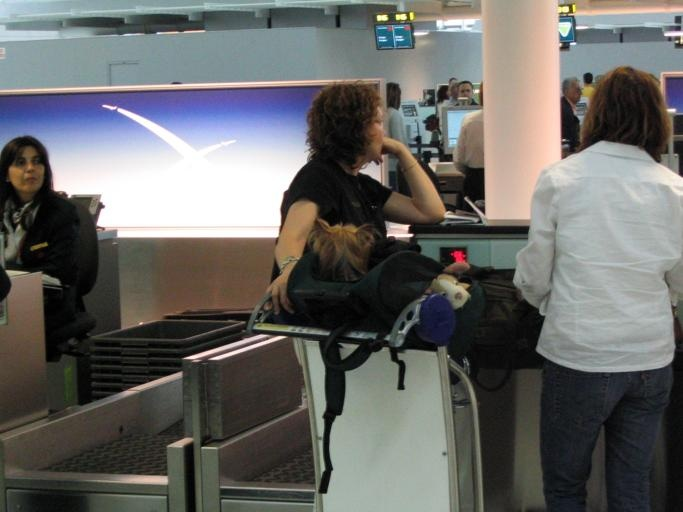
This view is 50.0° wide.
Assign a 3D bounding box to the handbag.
[{"bbox_3d":[0.248,0.166,2.294,0.742,0.235,0.525,11,-4,5],"label":"handbag"}]

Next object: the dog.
[{"bbox_3d":[0.006,-0.011,2.251,0.152,0.172,0.198,4,7,-2],"label":"dog"}]

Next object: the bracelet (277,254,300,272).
[{"bbox_3d":[-0.165,0.020,2.299,0.055,0.022,0.046,-26,-2,-28],"label":"bracelet"}]

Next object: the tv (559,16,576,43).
[{"bbox_3d":[4.208,-4.233,13.648,0.275,0.484,0.449,1,10,12],"label":"tv"}]

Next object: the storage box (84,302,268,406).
[{"bbox_3d":[-1.049,0.548,4.448,0.533,0.344,0.853,0,4,27],"label":"storage box"}]
